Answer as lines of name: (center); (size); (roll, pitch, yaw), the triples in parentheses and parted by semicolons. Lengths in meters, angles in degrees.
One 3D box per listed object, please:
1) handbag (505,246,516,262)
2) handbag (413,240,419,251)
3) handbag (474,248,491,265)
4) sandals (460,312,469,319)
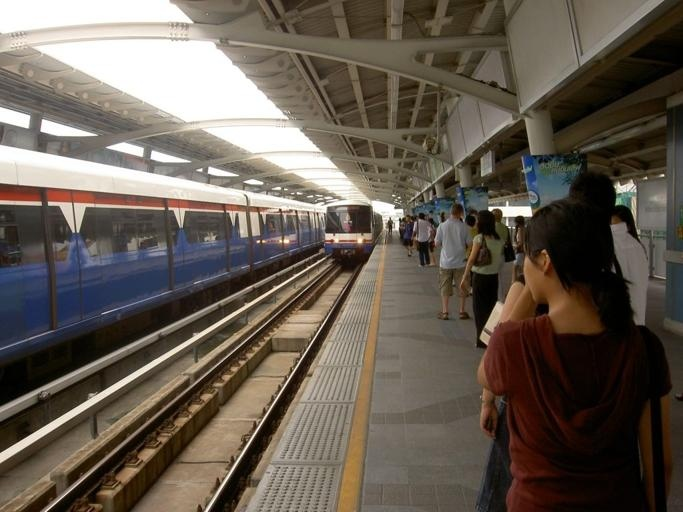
handbag: (3.018, -0.046, 8.502); (0.170, 0.289, 0.225); (-9, 23, 14)
handbag: (3.773, -0.536, 24.185); (0.189, 0.518, 0.568); (6, 7, 0)
handbag: (1.839, -0.006, 6.207); (0.220, 0.261, 0.135); (-2, 11, 18)
sandals: (2.205, 1.087, 8.504); (0.082, 0.092, 0.225); (-12, -33, 16)
